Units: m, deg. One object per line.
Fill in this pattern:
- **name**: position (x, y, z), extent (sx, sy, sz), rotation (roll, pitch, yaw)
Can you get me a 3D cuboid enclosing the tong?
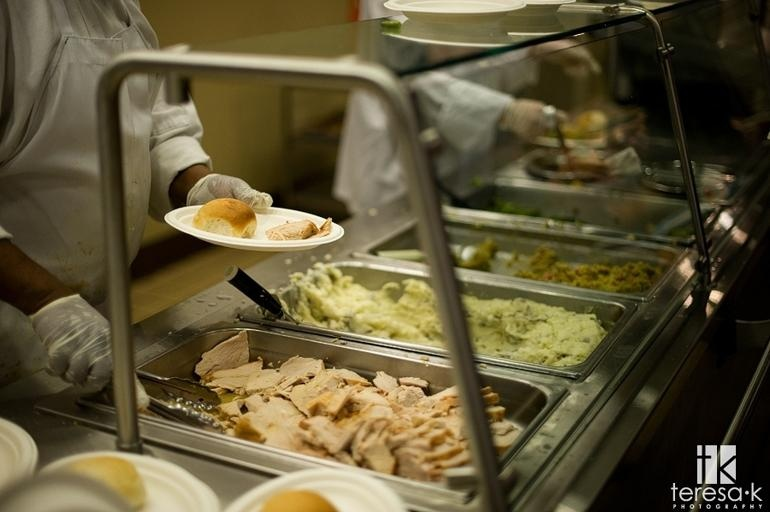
- **tong**: position (-0.471, 0.329, 1.276), extent (0.207, 0.034, 0.116), rotation (15, 34, -13)
